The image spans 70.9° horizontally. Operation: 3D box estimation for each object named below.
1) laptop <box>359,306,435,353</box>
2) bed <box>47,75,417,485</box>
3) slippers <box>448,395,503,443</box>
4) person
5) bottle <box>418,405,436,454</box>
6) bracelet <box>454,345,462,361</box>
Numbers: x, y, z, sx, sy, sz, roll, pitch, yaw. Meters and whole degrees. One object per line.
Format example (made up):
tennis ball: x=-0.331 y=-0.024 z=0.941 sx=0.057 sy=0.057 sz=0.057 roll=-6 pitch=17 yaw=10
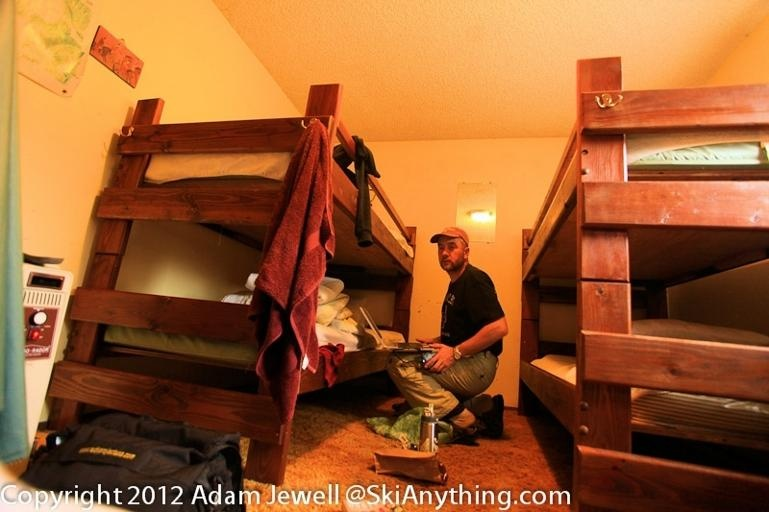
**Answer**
laptop: x=0.063 y=0.535 z=3.793 sx=0.437 sy=0.233 sz=0.413 roll=-4 pitch=-16 yaw=6
bed: x=-0.740 y=0.055 z=3.415 sx=1.451 sy=2.163 sz=1.757 roll=7 pitch=-1 yaw=23
slippers: x=0.594 y=0.990 z=3.329 sx=0.177 sy=0.195 sz=0.496 roll=-9 pitch=-29 yaw=30
person: x=0.451 y=0.572 z=3.784 sx=1.066 sy=1.557 sz=0.952 roll=3 pitch=-28 yaw=7
bottle: x=0.221 y=0.878 z=2.717 sx=0.098 sy=0.218 sz=0.245 roll=8 pitch=-1 yaw=6
bracelet: x=0.451 y=0.604 z=3.366 sx=0.054 sy=0.072 sz=0.074 roll=-9 pitch=-38 yaw=15
